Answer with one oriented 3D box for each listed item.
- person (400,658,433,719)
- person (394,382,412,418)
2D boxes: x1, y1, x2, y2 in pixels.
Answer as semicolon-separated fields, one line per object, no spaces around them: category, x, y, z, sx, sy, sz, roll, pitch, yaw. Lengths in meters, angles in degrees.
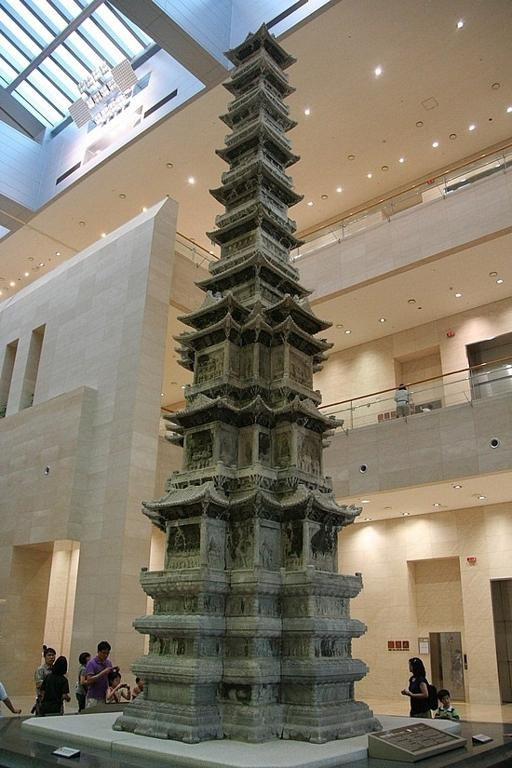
person;2.235;4.241;8.268;0.347;0.735;1.120;-6;-22;14
person;4.791;0.589;19.472;0.345;1.185;0.585;7;-23;-19
